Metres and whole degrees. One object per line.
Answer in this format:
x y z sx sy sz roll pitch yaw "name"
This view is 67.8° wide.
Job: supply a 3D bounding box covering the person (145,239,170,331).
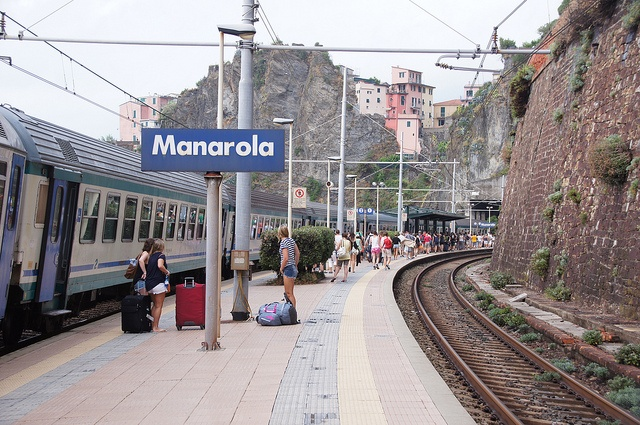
-3.911 1.765 11.470 0.482 2.191 0.522 -1 1 -22 "person"
